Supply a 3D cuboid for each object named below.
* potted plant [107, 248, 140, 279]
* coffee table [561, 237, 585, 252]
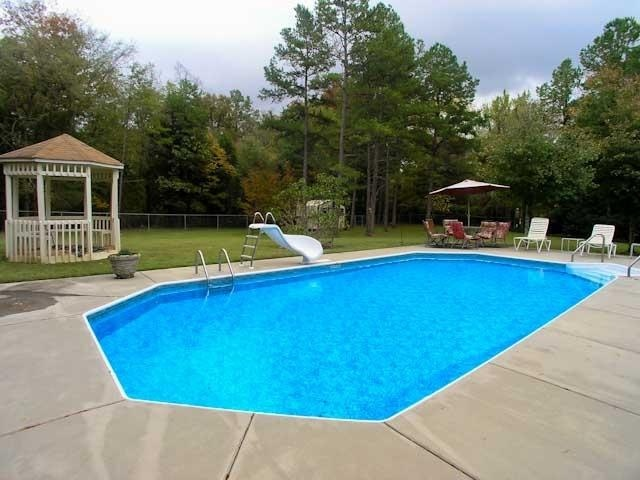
[{"bbox_3d":[-4.451,0.536,10.729,0.617,0.513,0.643,0,2,-17],"label":"potted plant"},{"bbox_3d":[9.511,0.188,17.782,0.645,0.442,0.676,-2,-1,32],"label":"coffee table"}]
